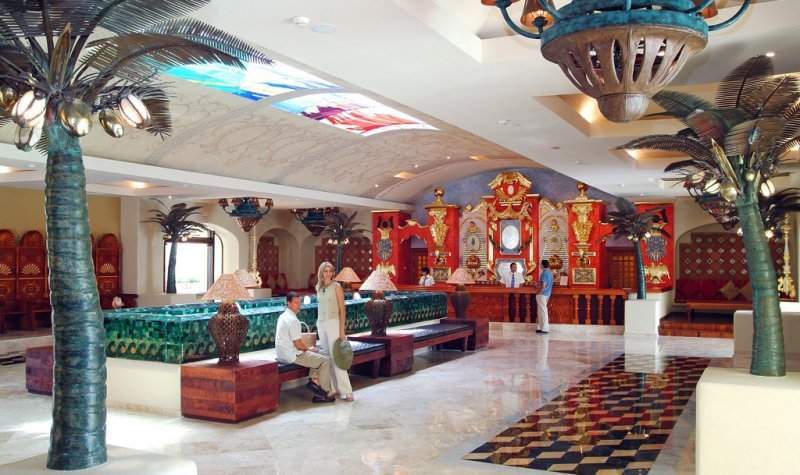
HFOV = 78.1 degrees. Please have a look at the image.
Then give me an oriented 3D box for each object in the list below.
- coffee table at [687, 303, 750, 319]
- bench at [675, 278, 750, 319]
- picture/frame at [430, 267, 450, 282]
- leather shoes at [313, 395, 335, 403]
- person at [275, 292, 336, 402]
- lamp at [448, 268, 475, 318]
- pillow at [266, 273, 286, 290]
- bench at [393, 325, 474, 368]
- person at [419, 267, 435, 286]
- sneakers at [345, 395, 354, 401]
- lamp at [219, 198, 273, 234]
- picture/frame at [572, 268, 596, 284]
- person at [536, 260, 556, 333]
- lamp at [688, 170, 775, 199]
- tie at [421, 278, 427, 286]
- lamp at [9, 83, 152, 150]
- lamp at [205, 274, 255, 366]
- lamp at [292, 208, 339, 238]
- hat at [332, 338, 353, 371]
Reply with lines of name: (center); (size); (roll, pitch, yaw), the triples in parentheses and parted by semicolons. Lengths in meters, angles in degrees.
coffee table: (10.542, 2.367, 16.412); (1.669, 0.501, 2.325); (-1, -2, 30)
bench: (10.867, 2.070, 16.945); (2.512, 0.969, 1.076); (-3, 14, 39)
picture/frame: (1.434, 1.339, 17.987); (0.734, 0.384, 0.070); (0, -6, 20)
leather shoes: (-1.173, 2.422, 7.461); (0.275, 0.079, 0.123); (0, -3, -15)
person: (-1.424, 1.634, 7.400); (0.839, 1.636, 0.386); (1, -2, -26)
lamp: (1.462, 1.348, 12.125); (0.499, 1.181, 0.857); (0, -2, 7)
pillow: (-5.498, 1.960, 21.851); (0.257, 0.636, 0.855); (1, -6, 38)
bench: (0.477, 2.246, 10.768); (2.352, 0.554, 0.900); (1, 7, -45)
person: (0.965, 1.457, 18.337); (0.441, 0.841, 0.542); (25, -29, -31)
sneakers: (-0.789, 2.422, 7.545); (0.130, 0.101, 0.166); (0, -2, 1)
lamp: (-5.364, -0.880, 17.087); (1.793, 1.069, 1.811); (3, -4, -44)
picture/frame: (5.919, 1.225, 15.917); (0.714, 0.370, 0.080); (1, 1, 20)
person: (4.192, 1.695, 14.439); (0.471, 2.097, 1.218); (0, -2, 15)
lamp: (3.976, -0.657, 5.966); (1.039, 0.200, 0.882); (2, -2, -4)
tie: (0.816, 1.570, 17.664); (0.304, 0.215, 0.158); (1, 6, 31)
lamp: (-2.533, -0.992, 3.864); (0.983, 0.487, 0.649); (1, -2, -21)
lamp: (-2.432, 1.109, 6.880); (0.615, 1.209, 0.534); (0, -2, -14)
lamp: (-3.519, -0.582, 19.912); (1.478, 0.794, 1.457); (-2, -2, 39)
hat: (-0.940, 1.752, 7.484); (0.415, 0.409, 0.193); (-3, 7, -31)
